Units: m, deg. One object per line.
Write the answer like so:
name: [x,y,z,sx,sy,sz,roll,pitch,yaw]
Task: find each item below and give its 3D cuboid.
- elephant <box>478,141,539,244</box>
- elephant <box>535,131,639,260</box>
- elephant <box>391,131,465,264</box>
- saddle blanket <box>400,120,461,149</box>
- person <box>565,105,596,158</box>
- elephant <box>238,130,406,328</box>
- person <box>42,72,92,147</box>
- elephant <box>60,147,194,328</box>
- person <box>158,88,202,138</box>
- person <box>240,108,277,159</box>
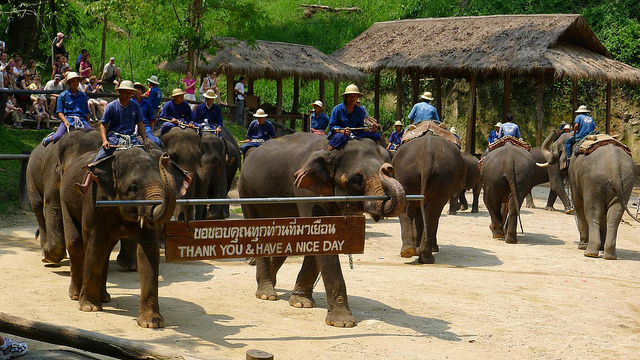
elephant: [5.412,0.339,27.905,1.480,2.753,1.015,2,5,15]
elephant: [8.184,0.497,27.447,2.334,2.939,3.657,0,0,5]
elephant: [3.040,0.343,28.347,2.744,3.817,6.652,3,-3,5]
saddle blanket: [3.119,-1.305,27.403,2.060,0.834,2.014,1,2,3]
person: [7.729,-1.408,28.519,0.809,1.608,0.859,5,-3,37]
elephant: [-0.108,1.056,23.540,2.983,4.340,5.470,-6,8,-41]
person: [-6.316,-1.745,24.127,1.348,1.788,1.044,-4,7,-28]
elephant: [-4.690,1.193,22.768,2.451,4.021,5.478,2,1,-37]
person: [-3.862,-1.827,26.605,0.929,1.333,1.543,-7,18,-35]
person: [-1.773,-1.355,27.922,1.519,1.969,1.155,0,2,-2]
